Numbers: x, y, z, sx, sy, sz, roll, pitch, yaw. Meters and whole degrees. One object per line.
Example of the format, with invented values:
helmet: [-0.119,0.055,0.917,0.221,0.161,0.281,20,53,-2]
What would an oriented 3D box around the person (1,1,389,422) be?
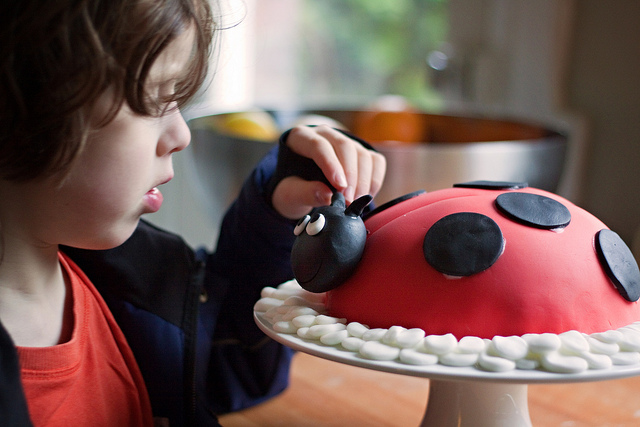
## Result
person: [-0.209,0.026,1.085,0.551,0.802,0.594,-10,6,-19]
